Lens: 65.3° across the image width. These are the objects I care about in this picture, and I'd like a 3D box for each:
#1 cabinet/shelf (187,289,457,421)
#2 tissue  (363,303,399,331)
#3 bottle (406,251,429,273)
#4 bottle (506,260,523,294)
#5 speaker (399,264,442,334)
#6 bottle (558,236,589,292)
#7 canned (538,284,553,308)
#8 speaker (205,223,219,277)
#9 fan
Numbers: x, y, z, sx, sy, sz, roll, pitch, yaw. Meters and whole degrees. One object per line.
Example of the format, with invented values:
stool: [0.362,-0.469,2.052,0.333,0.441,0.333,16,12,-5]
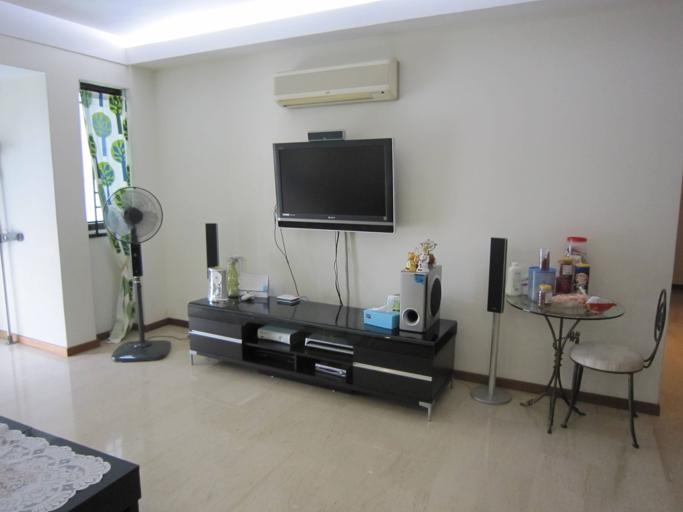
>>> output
cabinet/shelf: [-0.211,0.828,4.685,2.252,0.769,0.458,1,8,22]
tissue : [0.321,0.507,4.412,0.331,0.154,0.194,1,7,20]
bottle: [0.608,0.045,4.308,0.171,0.180,0.126,4,14,23]
bottle: [1.403,0.187,4.316,0.130,0.261,0.088,1,8,18]
speaker: [0.622,0.346,4.252,0.193,0.440,0.444,4,12,26]
bottle: [1.816,0.063,4.177,0.221,0.428,0.183,3,8,28]
canned: [1.544,0.294,4.036,0.100,0.147,0.150,2,8,21]
speaker: [-1.259,-0.101,5.184,0.106,0.428,0.249,-3,7,-16]
fan: [-1.999,0.165,5.198,0.546,1.655,0.486,-3,8,-18]
